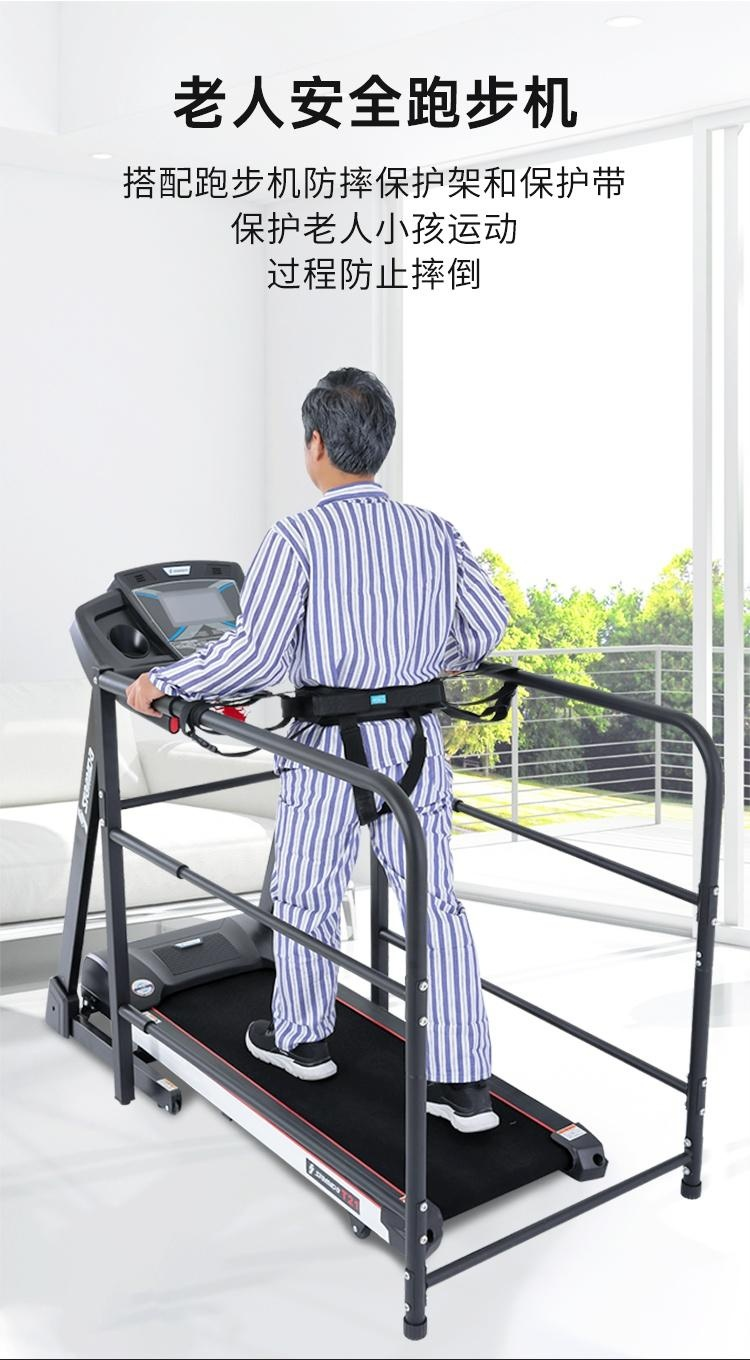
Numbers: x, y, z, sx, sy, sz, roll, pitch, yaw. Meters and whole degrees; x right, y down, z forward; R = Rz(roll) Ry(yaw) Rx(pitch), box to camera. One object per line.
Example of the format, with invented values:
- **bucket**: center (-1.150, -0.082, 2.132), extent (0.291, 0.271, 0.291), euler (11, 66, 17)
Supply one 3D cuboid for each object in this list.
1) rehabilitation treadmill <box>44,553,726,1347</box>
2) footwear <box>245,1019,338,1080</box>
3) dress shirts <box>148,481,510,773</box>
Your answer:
- **rehabilitation treadmill**: center (-0.098, 0.450, 2.262), extent (0.733, 1.255, 1.432), euler (-5, 13, -38)
- **footwear**: center (-0.176, 0.767, 2.257), extent (0.077, 0.092, 0.216), euler (3, 7, -42)
- **dress shirts**: center (-0.036, -0.173, 2.028), extent (0.783, 0.414, 0.283), euler (-9, 25, -30)
